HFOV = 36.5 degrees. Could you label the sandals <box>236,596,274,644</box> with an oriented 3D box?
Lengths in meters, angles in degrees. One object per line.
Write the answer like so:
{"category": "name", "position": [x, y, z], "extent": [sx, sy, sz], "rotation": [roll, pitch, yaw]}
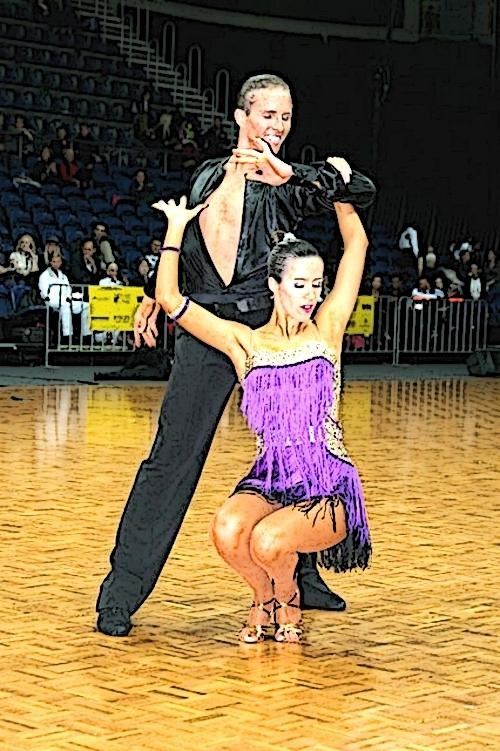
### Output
{"category": "sandals", "position": [0.032, 0.864, 2.648], "extent": [0.071, 0.082, 0.213], "rotation": [-7, -3, 13]}

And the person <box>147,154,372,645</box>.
{"category": "person", "position": [0.056, 0.163, 2.596], "extent": [0.716, 1.421, 0.358], "rotation": [3, -1, -34]}

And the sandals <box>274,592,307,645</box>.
{"category": "sandals", "position": [0.148, 0.854, 2.614], "extent": [0.078, 0.074, 0.209], "rotation": [-1, -1, 1]}
